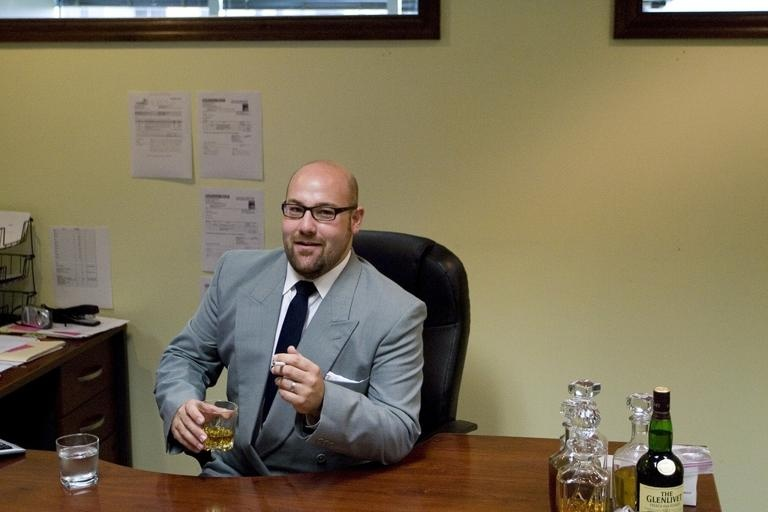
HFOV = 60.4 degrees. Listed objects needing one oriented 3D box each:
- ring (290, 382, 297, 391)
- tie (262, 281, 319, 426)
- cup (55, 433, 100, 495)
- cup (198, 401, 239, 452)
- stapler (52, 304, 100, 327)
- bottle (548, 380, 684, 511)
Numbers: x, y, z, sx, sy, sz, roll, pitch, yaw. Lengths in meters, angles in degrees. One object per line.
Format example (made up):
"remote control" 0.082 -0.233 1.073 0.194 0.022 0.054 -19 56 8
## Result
"ring" -0.282 0.404 2.061 0.021 0.024 0.023 4 9 0
"tie" -0.309 0.305 2.418 0.108 0.584 0.119 17 -28 -2
"cup" -0.905 0.639 2.043 0.143 0.171 0.151 0 -1 0
"cup" -0.521 0.532 2.111 0.131 0.152 0.138 1 -2 0
"stapler" -1.450 0.291 3.250 0.313 0.121 0.085 0 8 -2
"bottle" 0.613 0.541 1.878 0.265 0.282 0.226 5 2 16
